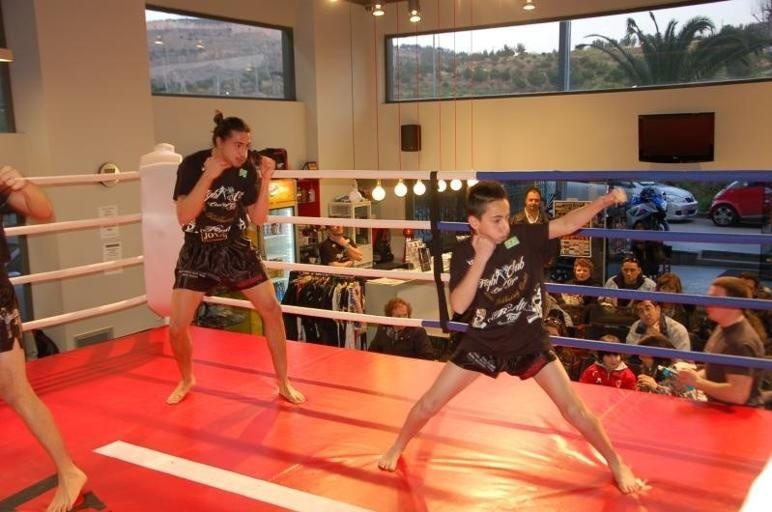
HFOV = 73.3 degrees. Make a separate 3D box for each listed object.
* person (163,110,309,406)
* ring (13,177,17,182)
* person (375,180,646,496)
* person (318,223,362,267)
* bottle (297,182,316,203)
[{"bbox_3d":[-0.973,0.019,3.175,0.848,1.735,0.431,-1,14,4],"label":"person"},{"bbox_3d":[-1.696,-0.349,2.366,0.021,0.013,0.011,0,-6,-11],"label":"ring"},{"bbox_3d":[0.608,0.345,2.526,1.228,1.398,0.494,0,14,10],"label":"person"},{"bbox_3d":[-0.664,-0.123,7.364,0.546,0.617,0.843,-4,13,-9],"label":"person"},{"bbox_3d":[-1.447,-1.128,9.296,0.221,0.383,0.426,-5,-3,41],"label":"bottle"}]
